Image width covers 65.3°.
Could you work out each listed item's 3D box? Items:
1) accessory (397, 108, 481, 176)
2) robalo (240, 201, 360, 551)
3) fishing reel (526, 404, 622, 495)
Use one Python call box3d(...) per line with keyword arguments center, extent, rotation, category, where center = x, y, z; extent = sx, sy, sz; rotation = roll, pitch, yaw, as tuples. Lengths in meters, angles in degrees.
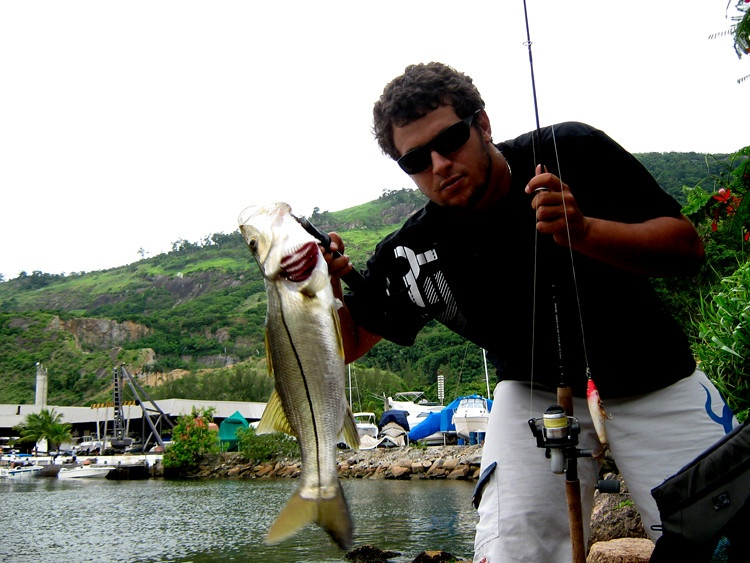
box3d(center=(0.340, -0.729, 3.223), extent=(0.469, 0.140, 0.471), rotation=(-36, -4, 26), category="accessory")
box3d(center=(-0.349, 0.378, 2.730), extent=(0.453, 1.530, 0.405), rotation=(-6, -6, -5), category="robalo")
box3d(center=(1.024, 0.900, 3.035), extent=(0.414, 0.472, 0.298), rotation=(7, -18, -29), category="fishing reel")
